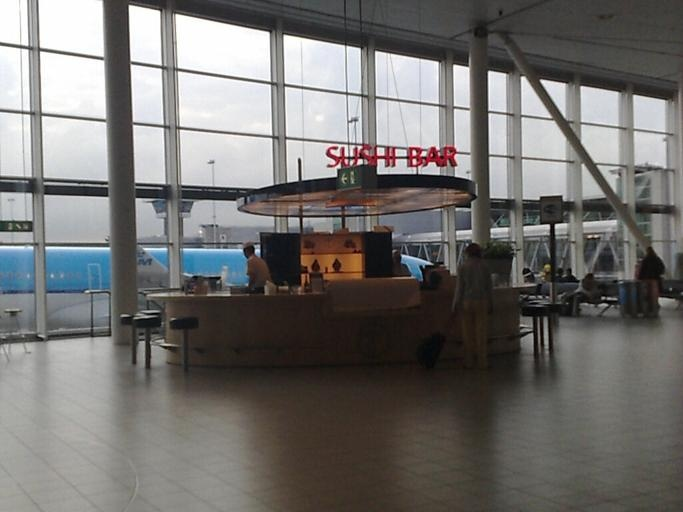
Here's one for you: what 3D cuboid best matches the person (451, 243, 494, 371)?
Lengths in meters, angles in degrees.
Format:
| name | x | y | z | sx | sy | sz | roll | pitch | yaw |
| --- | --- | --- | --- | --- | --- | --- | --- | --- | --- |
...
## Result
| name | x | y | z | sx | sy | sz | roll | pitch | yaw |
| --- | --- | --- | --- | --- | --- | --- | --- | --- | --- |
| person | 1.924 | 0.710 | 9.589 | 0.569 | 1.809 | 0.312 | -2 | -1 | 10 |

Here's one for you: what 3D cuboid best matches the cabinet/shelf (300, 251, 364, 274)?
| name | x | y | z | sx | sy | sz | roll | pitch | yaw |
| --- | --- | --- | --- | --- | --- | --- | --- | --- | --- |
| cabinet/shelf | -0.229 | 0.142 | 13.990 | 1.276 | 0.399 | 0.206 | -3 | 0 | -6 |

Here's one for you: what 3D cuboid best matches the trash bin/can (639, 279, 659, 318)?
| name | x | y | z | sx | sy | sz | roll | pitch | yaw |
| --- | --- | --- | --- | --- | --- | --- | --- | --- | --- |
| trash bin/can | 7.805 | 1.046 | 16.482 | 0.519 | 0.978 | 0.347 | -2 | -1 | 6 |

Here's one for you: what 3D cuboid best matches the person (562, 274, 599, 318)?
| name | x | y | z | sx | sy | sz | roll | pitch | yaw |
| --- | --- | --- | --- | --- | --- | --- | --- | --- | --- |
| person | 6.426 | 0.970 | 17.314 | 1.227 | 1.159 | 0.466 | -2 | 0 | -34 |

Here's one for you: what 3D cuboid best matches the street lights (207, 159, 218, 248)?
| name | x | y | z | sx | sy | sz | roll | pitch | yaw |
| --- | --- | --- | --- | --- | --- | --- | --- | --- | --- |
| street lights | -3.187 | -1.308 | 15.968 | 0.197 | 1.834 | 0.147 | -2 | -1 | -15 |

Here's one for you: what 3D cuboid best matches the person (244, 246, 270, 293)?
| name | x | y | z | sx | sy | sz | roll | pitch | yaw |
| --- | --- | --- | --- | --- | --- | --- | --- | --- | --- |
| person | -1.467 | 0.169 | 11.081 | 0.431 | 0.717 | 1.622 | -2 | 0 | -8 |

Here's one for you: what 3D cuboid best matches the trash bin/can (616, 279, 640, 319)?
| name | x | y | z | sx | sy | sz | roll | pitch | yaw |
| --- | --- | --- | --- | --- | --- | --- | --- | --- | --- |
| trash bin/can | 7.348 | 1.061 | 16.556 | 0.478 | 0.969 | 0.415 | -3 | -1 | 25 |
